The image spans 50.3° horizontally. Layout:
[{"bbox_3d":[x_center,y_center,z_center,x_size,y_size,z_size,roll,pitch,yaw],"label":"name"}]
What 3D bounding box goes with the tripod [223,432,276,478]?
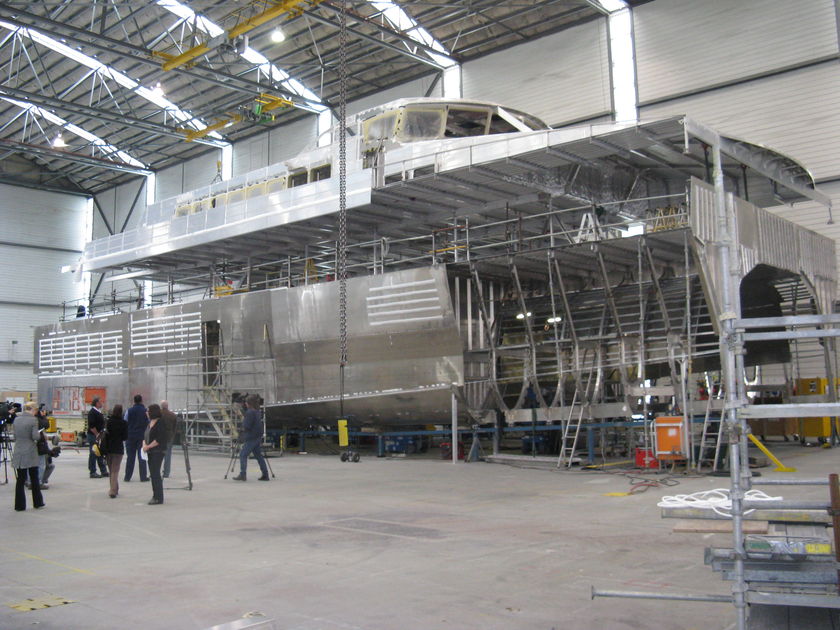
[{"bbox_3d":[-4.426,3.620,23.096,1.811,1.033,0.888,-1,-10,5],"label":"tripod"}]
